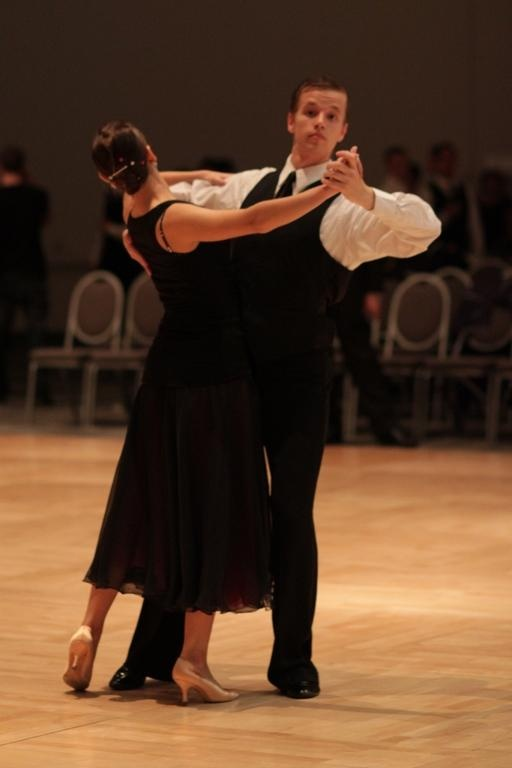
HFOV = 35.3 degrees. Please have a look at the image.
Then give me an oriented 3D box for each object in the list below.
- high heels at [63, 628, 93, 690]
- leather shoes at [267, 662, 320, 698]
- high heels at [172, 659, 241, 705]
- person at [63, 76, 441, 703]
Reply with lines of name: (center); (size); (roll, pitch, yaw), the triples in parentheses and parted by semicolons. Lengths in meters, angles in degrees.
high heels: (-0.347, 0.552, 1.622); (0.054, 0.129, 0.065); (3, -4, -1)
leather shoes: (0.083, 0.603, 1.629); (0.045, 0.045, 0.114); (3, -11, -16)
high heels: (-0.099, 0.587, 1.568); (0.099, 0.105, 0.095); (3, 5, 24)
person: (0.023, 0.017, 1.655); (0.663, 1.299, 0.501); (3, 5, 26)
